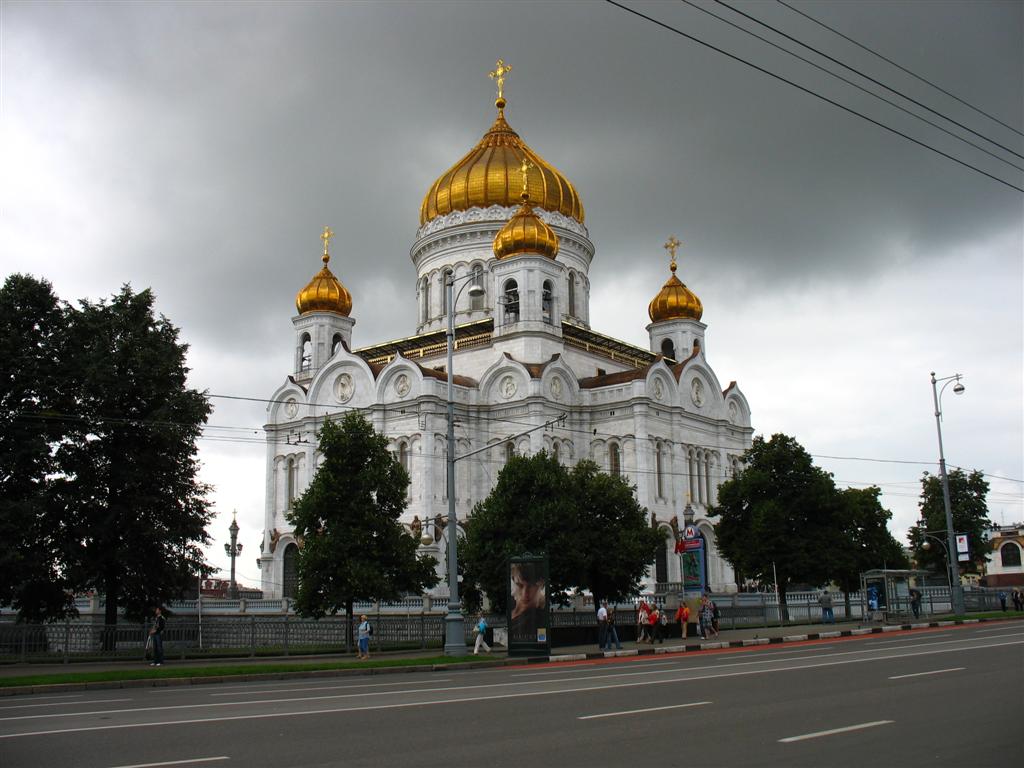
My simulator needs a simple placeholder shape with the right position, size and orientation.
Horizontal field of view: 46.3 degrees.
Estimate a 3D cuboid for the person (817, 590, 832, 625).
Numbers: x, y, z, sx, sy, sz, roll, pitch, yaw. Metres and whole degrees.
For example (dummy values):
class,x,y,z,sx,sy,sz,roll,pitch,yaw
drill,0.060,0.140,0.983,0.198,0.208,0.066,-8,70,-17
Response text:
class,x,y,z,sx,sy,sz,roll,pitch,yaw
person,15.336,10.984,58.556,0.435,1.610,1.717,-4,-15,10
